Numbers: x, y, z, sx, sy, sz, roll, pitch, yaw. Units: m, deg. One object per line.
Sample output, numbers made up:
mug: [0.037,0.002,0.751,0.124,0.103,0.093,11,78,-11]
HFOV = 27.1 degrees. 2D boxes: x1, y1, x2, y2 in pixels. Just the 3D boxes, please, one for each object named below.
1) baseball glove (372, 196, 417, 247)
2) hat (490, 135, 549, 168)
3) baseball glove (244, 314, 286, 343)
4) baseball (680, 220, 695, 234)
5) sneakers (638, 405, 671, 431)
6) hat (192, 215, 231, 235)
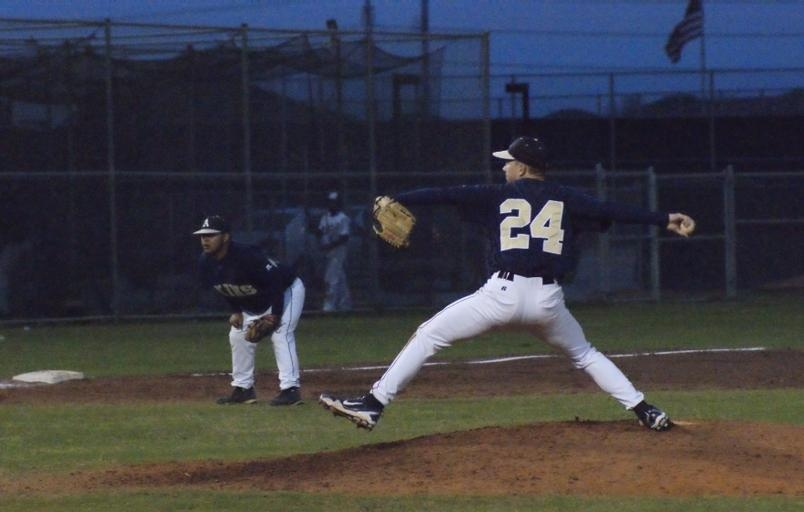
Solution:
baseball glove: [-0.166,-0.478,23.272,0.378,0.577,0.813,0,-14,29]
hat: [1.684,-1.467,23.179,0.649,0.345,0.439,6,2,6]
baseball glove: [-2.020,1.050,24.512,0.489,0.137,0.345,-27,41,-5]
baseball: [3.928,-0.439,22.900,0.186,0.169,0.070,5,-1,9]
sneakers: [3.476,2.171,23.066,0.482,0.279,0.226,26,13,12]
hat: [-2.754,-0.476,24.566,0.578,0.258,0.423,5,-3,-23]
